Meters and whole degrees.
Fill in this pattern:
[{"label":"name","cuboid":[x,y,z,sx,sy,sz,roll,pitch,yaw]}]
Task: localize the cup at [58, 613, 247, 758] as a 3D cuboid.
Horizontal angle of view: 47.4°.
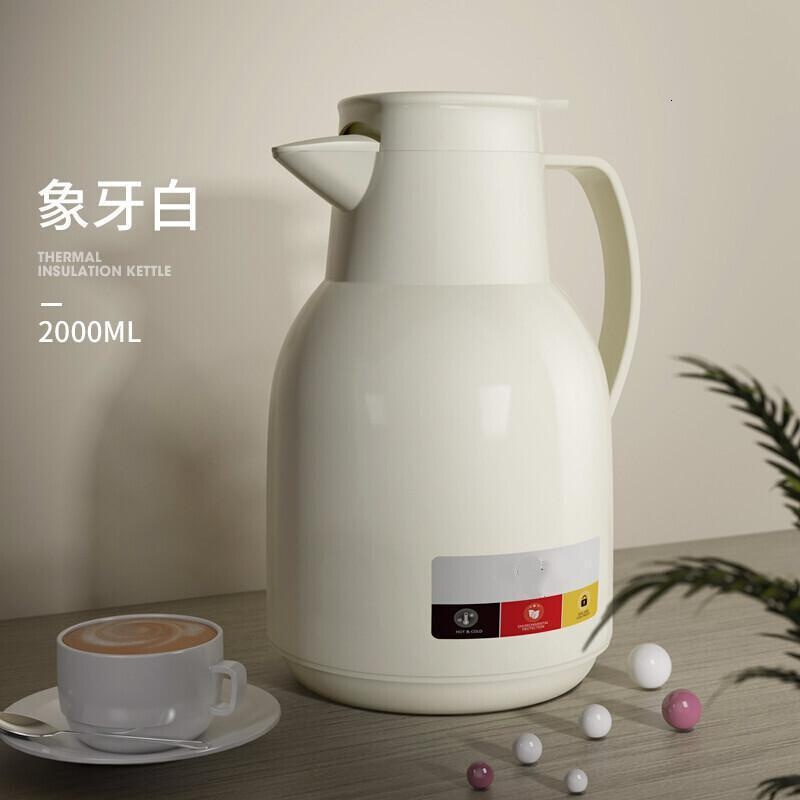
[{"label":"cup","cuboid":[-0.119,0.136,0.453,0.069,0.046,0.059,1,-2,5]}]
